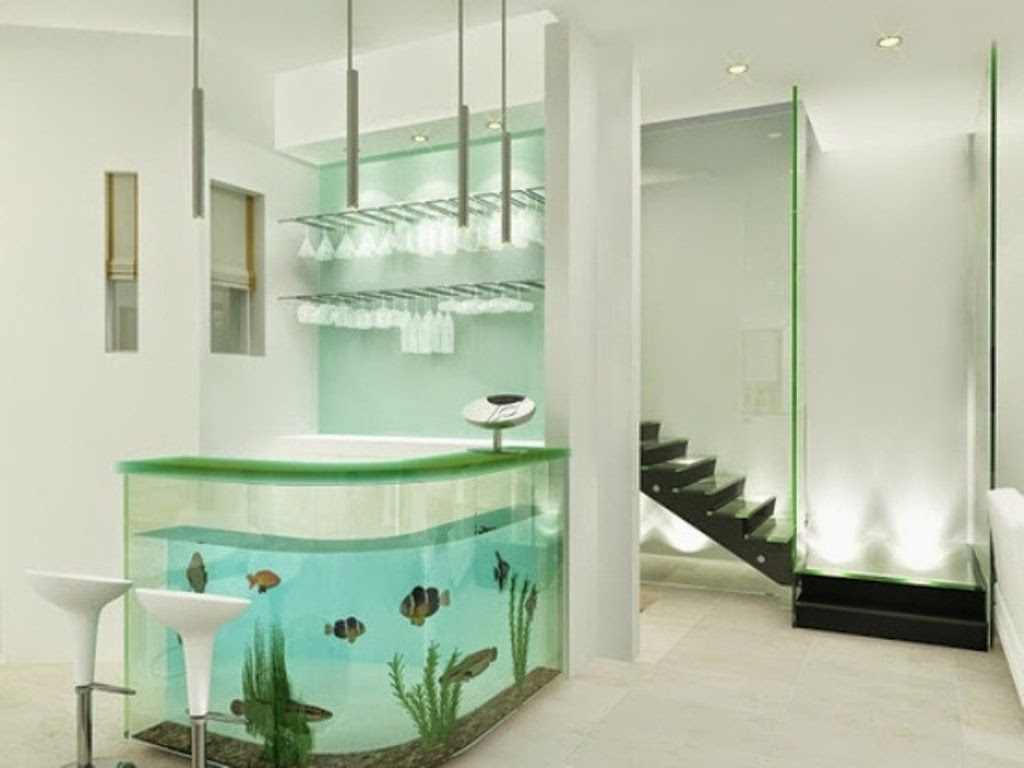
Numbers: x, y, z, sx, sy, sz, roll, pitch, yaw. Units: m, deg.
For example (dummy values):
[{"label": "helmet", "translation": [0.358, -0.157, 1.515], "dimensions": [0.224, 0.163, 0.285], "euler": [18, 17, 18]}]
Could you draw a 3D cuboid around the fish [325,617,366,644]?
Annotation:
[{"label": "fish", "translation": [-0.851, 1.276, 4.429], "dimensions": [0.234, 0.152, 0.088], "euler": [0, 0, -5]}]

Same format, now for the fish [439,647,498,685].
[{"label": "fish", "translation": [-0.224, 1.558, 4.743], "dimensions": [0.107, 0.117, 0.300], "euler": [13, 8, 35]}]

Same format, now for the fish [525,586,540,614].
[{"label": "fish", "translation": [0.129, 1.315, 5.185], "dimensions": [0.059, 0.163, 0.066], "euler": [3, 21, 4]}]

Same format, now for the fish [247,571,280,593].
[{"label": "fish", "translation": [-1.296, 1.042, 4.477], "dimensions": [0.206, 0.116, 0.073], "euler": [1, -3, 3]}]

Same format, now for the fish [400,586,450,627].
[{"label": "fish", "translation": [-0.516, 1.163, 4.522], "dimensions": [0.332, 0.218, 0.103], "euler": [2, -2, -36]}]
